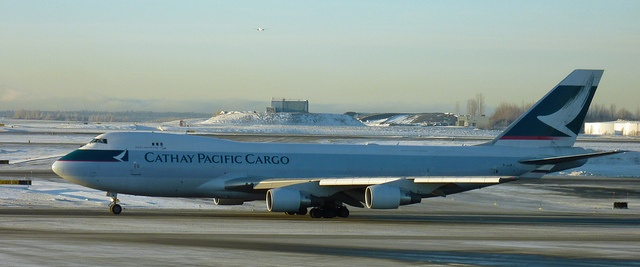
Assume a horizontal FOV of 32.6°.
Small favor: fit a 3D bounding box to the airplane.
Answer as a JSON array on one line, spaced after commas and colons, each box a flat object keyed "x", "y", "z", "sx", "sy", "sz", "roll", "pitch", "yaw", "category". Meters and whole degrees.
[{"x": 1.934, "y": 1.859, "z": 168.698, "sx": 84.883, "sy": 22.371, "sz": 9.064, "roll": -1, "pitch": -4, "yaw": 3, "category": "airplane"}]
